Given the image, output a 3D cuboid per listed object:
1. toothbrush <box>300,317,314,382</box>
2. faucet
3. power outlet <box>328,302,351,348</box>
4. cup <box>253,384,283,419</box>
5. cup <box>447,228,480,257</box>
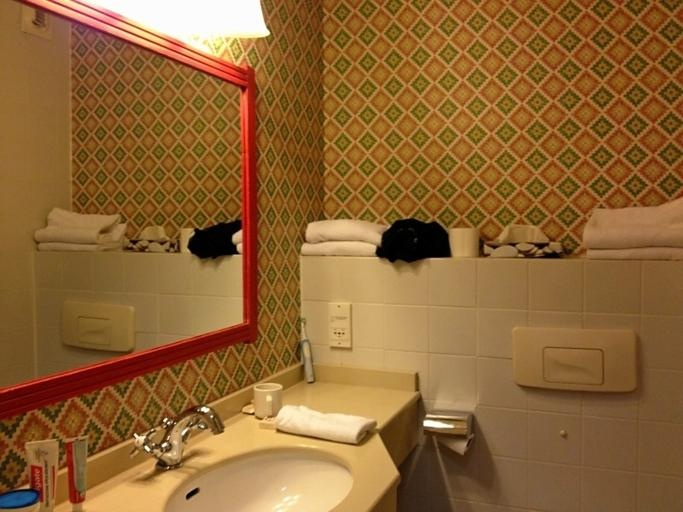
[{"bbox_3d":[-0.157,0.435,2.437,0.068,0.276,0.140,0,9,-6],"label":"toothbrush"},{"bbox_3d":[-0.466,0.560,1.630,0.199,0.160,0.071,-11,-1,4],"label":"faucet"},{"bbox_3d":[-0.013,0.318,2.418,0.105,0.203,0.028,4,-26,-8],"label":"power outlet"},{"bbox_3d":[-0.272,0.549,1.959,0.097,0.111,0.151,0,5,-10],"label":"cup"},{"bbox_3d":[0.526,-0.057,2.314,0.118,0.108,0.109,2,-4,0],"label":"cup"}]
